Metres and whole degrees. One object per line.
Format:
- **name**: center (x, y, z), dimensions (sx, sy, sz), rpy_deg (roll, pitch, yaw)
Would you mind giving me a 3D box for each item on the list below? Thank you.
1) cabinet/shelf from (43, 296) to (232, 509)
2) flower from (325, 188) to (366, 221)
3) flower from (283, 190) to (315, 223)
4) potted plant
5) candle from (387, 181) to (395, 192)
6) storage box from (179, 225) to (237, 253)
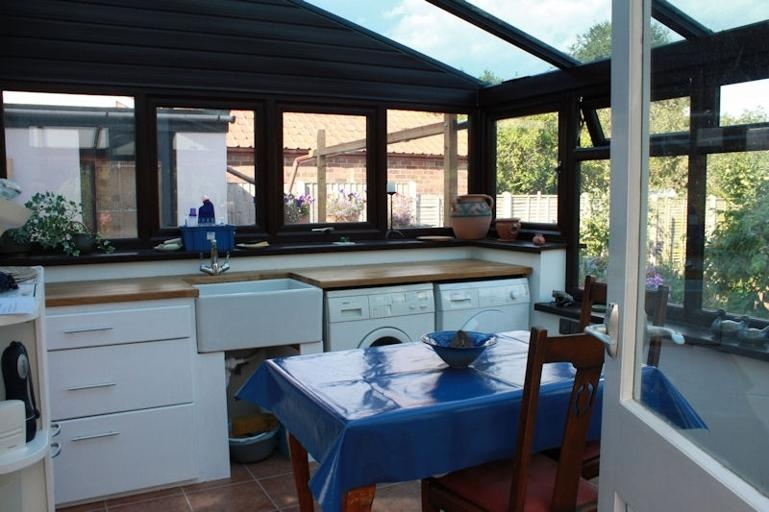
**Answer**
- **cabinet/shelf**: center (-1.521, 0.766, 3.945), dimensions (1.260, 1.397, 0.991), rpy_deg (-2, 1, -29)
- **flower**: center (-0.314, -0.443, 5.016), dimensions (0.303, 0.286, 0.071), rpy_deg (-1, 6, -20)
- **flower**: center (-0.718, -0.406, 4.841), dimensions (0.260, 0.268, 0.225), rpy_deg (-1, 1, -29)
- **potted plant**: center (-2.262, -0.224, 4.024), dimensions (0.671, 0.450, 0.322), rpy_deg (-6, 7, -26)
- **candle**: center (0.060, -0.607, 5.038), dimensions (0.073, 0.077, 0.078), rpy_deg (0, 4, 12)
- **storage box**: center (-1.291, -0.120, 4.280), dimensions (0.360, 0.213, 0.126), rpy_deg (-5, 7, -20)
